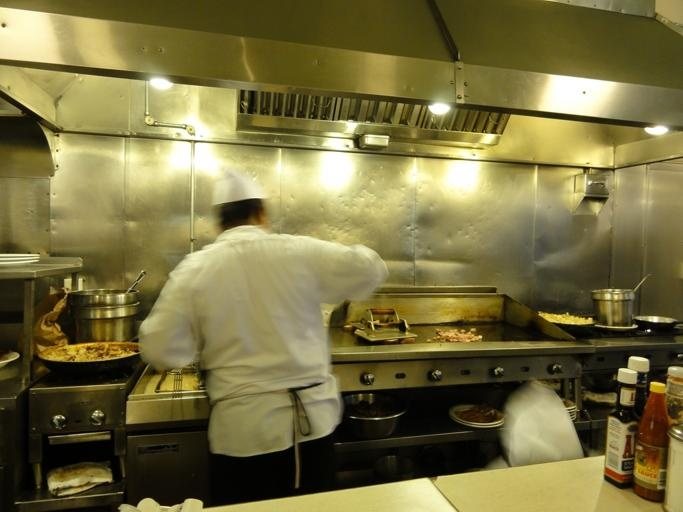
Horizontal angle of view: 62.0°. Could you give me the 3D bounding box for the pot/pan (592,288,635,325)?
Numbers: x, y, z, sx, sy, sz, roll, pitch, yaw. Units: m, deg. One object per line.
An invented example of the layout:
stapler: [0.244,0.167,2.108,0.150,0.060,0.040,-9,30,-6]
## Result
pot/pan: [1.882,0.350,3.918,0.258,0.226,0.250,0,-2,18]

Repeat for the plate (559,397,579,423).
plate: [1.387,0.943,3.446,0.096,0.121,0.200,3,5,21]

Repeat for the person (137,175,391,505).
person: [-0.375,0.552,2.650,1.067,1.370,0.336,-1,5,-17]

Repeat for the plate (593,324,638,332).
plate: [1.847,0.491,3.799,0.288,0.044,0.098,1,5,4]

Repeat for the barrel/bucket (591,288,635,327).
barrel/bucket: [1.852,0.356,3.939,0.270,0.235,0.253,0,0,0]

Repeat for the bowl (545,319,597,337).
bowl: [1.571,0.488,3.765,0.278,0.084,0.252,1,5,6]

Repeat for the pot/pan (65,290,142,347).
pot/pan: [-1.361,0.328,3.236,0.360,0.286,0.340,1,1,12]
